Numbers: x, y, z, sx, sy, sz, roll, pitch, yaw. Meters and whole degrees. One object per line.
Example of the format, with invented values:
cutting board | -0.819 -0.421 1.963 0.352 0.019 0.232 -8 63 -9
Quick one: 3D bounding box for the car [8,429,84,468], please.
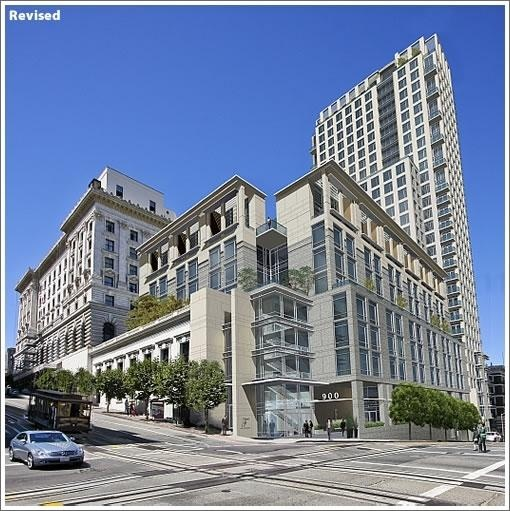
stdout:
car | -8.901 8.195 21.053 3.130 1.503 1.838 -17 -26 36
